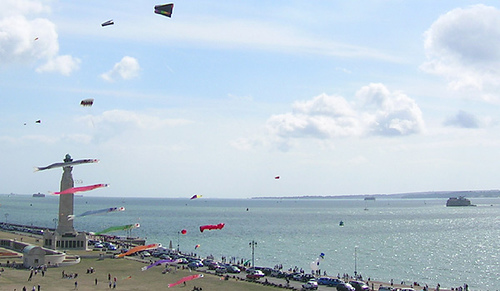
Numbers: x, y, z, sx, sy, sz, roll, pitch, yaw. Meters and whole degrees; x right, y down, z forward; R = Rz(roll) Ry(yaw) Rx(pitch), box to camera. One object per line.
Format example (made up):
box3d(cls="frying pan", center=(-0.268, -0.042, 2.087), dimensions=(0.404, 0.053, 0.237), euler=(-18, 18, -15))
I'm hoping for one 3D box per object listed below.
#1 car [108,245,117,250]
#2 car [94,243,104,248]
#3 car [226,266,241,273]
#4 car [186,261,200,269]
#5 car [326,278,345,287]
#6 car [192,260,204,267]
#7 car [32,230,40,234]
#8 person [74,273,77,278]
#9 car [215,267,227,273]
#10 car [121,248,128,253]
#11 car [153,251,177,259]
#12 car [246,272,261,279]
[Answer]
box3d(cls="car", center=(-65.386, 48.252, 420.057), dimensions=(3.998, 2.422, 2.337), euler=(3, -11, -14))
box3d(cls="car", center=(-72.133, 47.315, 420.260), dimensions=(3.932, 2.550, 3.526), euler=(3, -11, -16))
box3d(cls="car", center=(-7.805, 55.778, 398.366), dimensions=(4.271, 1.718, 2.894), euler=(-3, -1, 29))
box3d(cls="car", center=(-25.921, 54.694, 402.189), dimensions=(4.247, 2.428, 1.636), euler=(-3, -51, -1))
box3d(cls="car", center=(36.701, 59.818, 387.023), dimensions=(5.854, 1.842, 3.309), euler=(-2, 5, 9))
box3d(cls="car", center=(-23.650, 53.590, 404.344), dimensions=(3.163, 3.017, 4.429), euler=(8, -13, -34))
box3d(cls="car", center=(-108.816, 43.616, 447.236), dimensions=(2.241, 2.004, 3.921), euler=(2, -10, -8))
box3d(cls="person", center=(-76.571, 57.002, 388.141), dimensions=(0.814, 1.518, 1.426), euler=(-1, -11, 9))
box3d(cls="car", center=(-12.976, 55.594, 397.215), dimensions=(3.395, 2.735, 4.440), euler=(-7, -13, 37))
box3d(cls="car", center=(-59.235, 49.288, 416.498), dimensions=(4.221, 1.406, 5.044), euler=(2, -1, -5))
box3d(cls="car", center=(-39.974, 51.218, 413.023), dimensions=(6.237, 1.518, 3.613), euler=(14, 4, 19))
box3d(cls="car", center=(1.631, 57.714, 392.130), dimensions=(4.023, 1.604, 2.508), euler=(-4, 0, 6))
